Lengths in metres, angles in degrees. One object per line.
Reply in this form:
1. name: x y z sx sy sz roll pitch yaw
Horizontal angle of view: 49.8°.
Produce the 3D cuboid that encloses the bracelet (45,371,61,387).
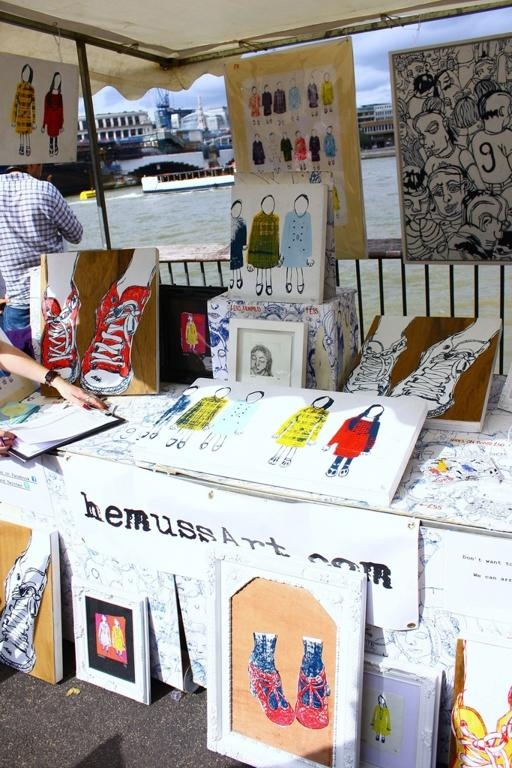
1. bracelet: -0.633 -0.015 1.722 0.034 0.047 0.025 14 -12 0
